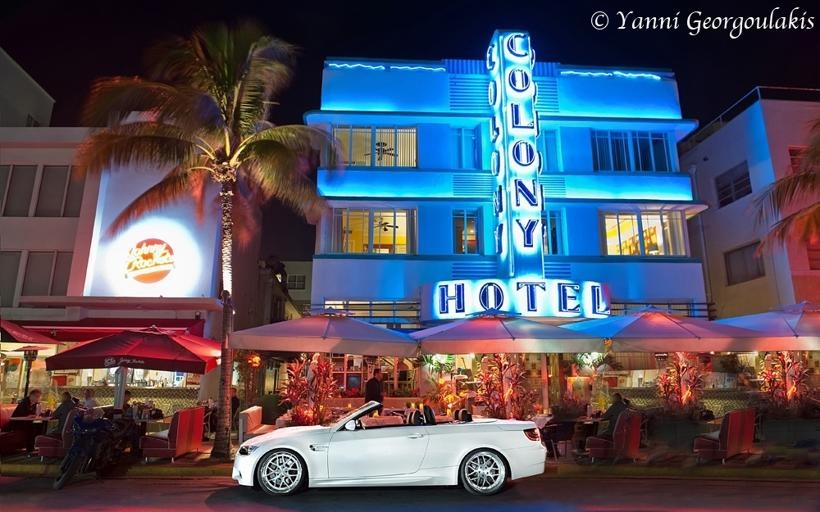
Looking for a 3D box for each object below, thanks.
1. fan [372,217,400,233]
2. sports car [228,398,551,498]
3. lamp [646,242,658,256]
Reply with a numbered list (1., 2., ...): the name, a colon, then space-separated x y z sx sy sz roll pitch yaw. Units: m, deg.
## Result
1. fan: -1.289 -1.602 29.364 0.844 0.347 0.938 -3 -5 29
2. sports car: -0.506 5.396 15.392 7.322 1.949 3.006 2 -16 0
3. lamp: 13.026 -0.334 29.884 0.715 0.648 0.702 -2 -5 14
